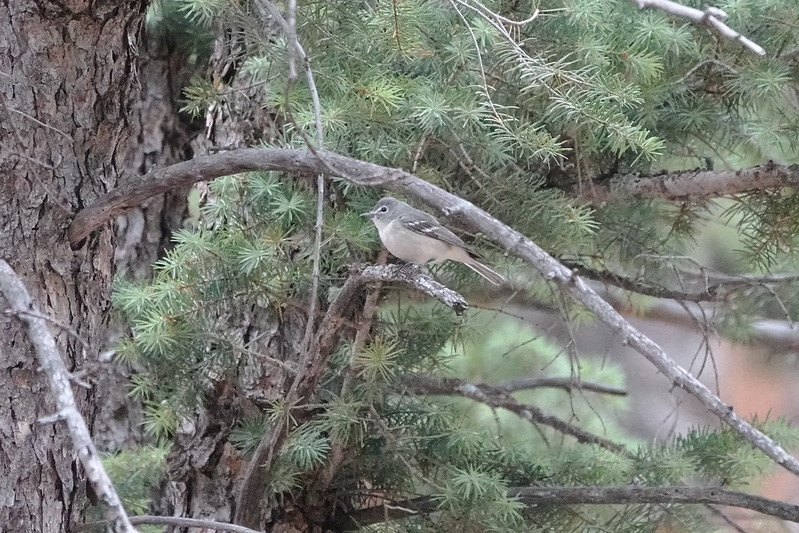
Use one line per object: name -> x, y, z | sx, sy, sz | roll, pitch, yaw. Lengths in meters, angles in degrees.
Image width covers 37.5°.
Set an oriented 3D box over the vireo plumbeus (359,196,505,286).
vireo plumbeus -> 0.178, -0.172, 7.437 | 0.935, 0.422, 0.297 | 9, -10, -1
